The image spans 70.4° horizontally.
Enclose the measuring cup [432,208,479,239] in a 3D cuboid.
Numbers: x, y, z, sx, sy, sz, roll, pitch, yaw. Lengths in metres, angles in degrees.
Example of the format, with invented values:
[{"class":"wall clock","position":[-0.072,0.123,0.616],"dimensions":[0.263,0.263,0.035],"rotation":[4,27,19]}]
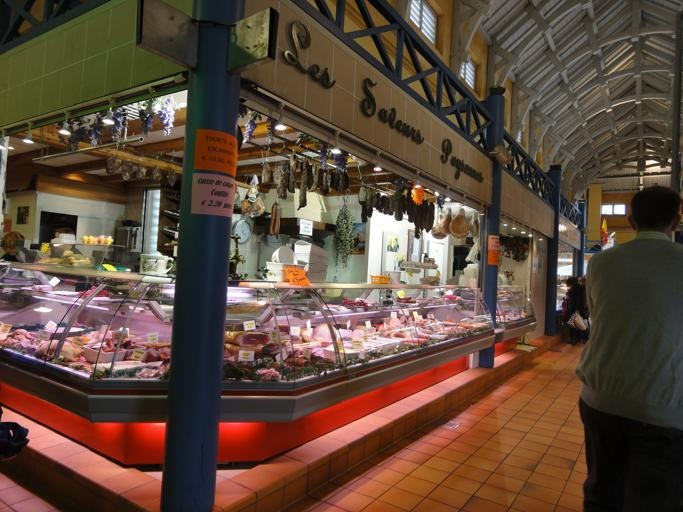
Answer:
[{"class":"measuring cup","position":[1.780,-0.482,7.498],"dimensions":[0.535,0.298,0.622],"rotation":[3,11,6]}]

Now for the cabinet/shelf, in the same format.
[{"class":"cabinet/shelf","position":[-0.633,0.930,4.741],"dimensions":[4.429,1.537,2.090],"rotation":[5,3,-35]}]

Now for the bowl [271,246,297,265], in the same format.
[{"class":"bowl","position":[-0.601,-0.016,5.044],"dimensions":[0.179,0.179,0.247],"rotation":[8,2,16]}]

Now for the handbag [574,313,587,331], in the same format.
[{"class":"handbag","position":[5.751,1.580,11.598],"dimensions":[0.165,0.424,0.347],"rotation":[-36,1,39]}]

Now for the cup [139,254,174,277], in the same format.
[{"class":"cup","position":[-1.842,0.092,4.882],"dimensions":[0.389,0.243,0.307],"rotation":[2,-4,3]}]
